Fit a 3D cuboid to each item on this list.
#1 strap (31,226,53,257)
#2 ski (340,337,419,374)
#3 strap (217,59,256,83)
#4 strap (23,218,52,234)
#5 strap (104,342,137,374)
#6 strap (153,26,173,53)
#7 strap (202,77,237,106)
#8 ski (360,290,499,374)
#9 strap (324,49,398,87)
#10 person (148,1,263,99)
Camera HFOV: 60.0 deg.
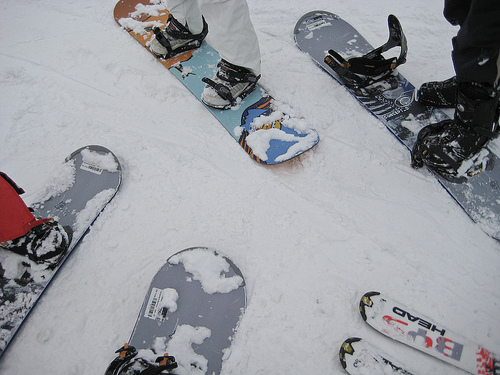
[{"bbox_3d":[-1.866,0.456,3.900,0.081,0.085,0.303,-20,42,63],"label":"strap"},{"bbox_3d":[1.026,1.431,3.604,0.534,0.261,0.247,-5,36,18],"label":"ski"},{"bbox_3d":[-0.148,-1.143,4.434,0.316,0.150,0.222,16,64,-14],"label":"strap"},{"bbox_3d":[-1.917,0.325,3.855,0.082,0.038,0.137,27,45,27],"label":"strap"},{"bbox_3d":[-1.026,1.361,3.527,0.113,0.159,0.397,24,17,3],"label":"strap"},{"bbox_3d":[-0.954,-1.602,4.676,0.138,0.335,0.111,17,60,46],"label":"strap"},{"bbox_3d":[-0.299,-0.983,4.349,0.152,0.465,0.212,-53,3,8],"label":"strap"},{"bbox_3d":[1.518,1.253,3.680,0.932,0.177,0.244,25,76,5],"label":"ski"},{"bbox_3d":[1.149,-1.249,4.513,0.597,0.234,0.395,21,49,1],"label":"strap"},{"bbox_3d":[-0.438,-1.447,4.498,0.536,1.050,1.201,-35,39,-28],"label":"person"}]
